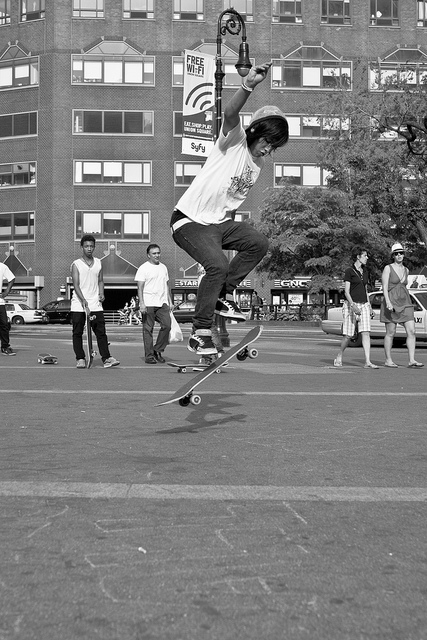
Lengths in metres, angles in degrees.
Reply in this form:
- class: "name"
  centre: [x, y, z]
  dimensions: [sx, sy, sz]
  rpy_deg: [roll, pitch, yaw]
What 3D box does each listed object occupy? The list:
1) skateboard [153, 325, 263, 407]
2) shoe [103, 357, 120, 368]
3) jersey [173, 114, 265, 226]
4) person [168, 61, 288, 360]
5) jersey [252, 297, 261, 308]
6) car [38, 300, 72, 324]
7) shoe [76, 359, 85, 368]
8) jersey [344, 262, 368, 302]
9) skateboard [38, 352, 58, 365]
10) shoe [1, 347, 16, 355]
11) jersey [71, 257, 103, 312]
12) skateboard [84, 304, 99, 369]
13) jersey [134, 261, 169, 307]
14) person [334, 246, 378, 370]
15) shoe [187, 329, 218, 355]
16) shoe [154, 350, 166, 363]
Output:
- class: "skateboard"
  centre: [-0.057, 0.441, 9.414]
  dimensions: [0.919, 0.126, 0.174]
  rpy_deg: [-38, 9, -34]
- class: "shoe"
  centre: [-1.201, 0.507, 11.812]
  dimensions: [0.177, 0.114, 0.242]
  rpy_deg: [-2, 1, -6]
- class: "jersey"
  centre: [0.083, -0.909, 6.120]
  dimensions: [0.565, 0.639, 0.418]
  rpy_deg: [-2, 0, -30]
- class: "person"
  centre: [0.129, -0.557, 6.113]
  dimensions: [0.658, 1.655, 0.504]
  rpy_deg: [-2, 0, -21]
- class: "jersey"
  centre: [1.890, -0.738, 43.423]
  dimensions: [0.360, 0.933, 0.257]
  rpy_deg: [4, 45, 3]
- class: "car"
  centre: [-7.059, -0.329, 45.128]
  dimensions: [1.794, 0.881, 1.060]
  rpy_deg: [3, 1, 3]
- class: "shoe"
  centre: [-1.542, 0.517, 11.747]
  dimensions: [0.084, 0.095, 0.144]
  rpy_deg: [-2, 0, -9]
- class: "jersey"
  centre: [1.786, -0.469, 12.468]
  dimensions: [0.279, 0.456, 0.364]
  rpy_deg: [-1, 0, 8]
- class: "skateboard"
  centre: [-2.032, 0.490, 12.341]
  dimensions: [0.206, 0.135, 0.354]
  rpy_deg: [-2, 1, -7]
- class: "shoe"
  centre: [-2.923, 0.466, 14.371]
  dimensions: [0.081, 0.110, 0.250]
  rpy_deg: [4, -6, -41]
- class: "jersey"
  centre: [-1.520, -0.425, 12.104]
  dimensions: [0.511, 0.653, 0.283]
  rpy_deg: [-2, 0, -43]
- class: "skateboard"
  centre: [-1.454, 0.190, 12.028]
  dimensions: [0.111, 0.803, 0.138]
  rpy_deg: [1, -9, -15]
- class: "jersey"
  centre: [-0.738, -0.451, 12.763]
  dimensions: [0.457, 0.567, 0.332]
  rpy_deg: [-2, 0, -21]
- class: "person"
  centre: [1.796, -0.159, 12.677]
  dimensions: [0.538, 1.421, 1.557]
  rpy_deg: [-1, 0, 8]
- class: "shoe"
  centre: [-0.061, 0.133, 6.047]
  dimensions: [0.088, 0.115, 0.246]
  rpy_deg: [2, 1, -21]
- class: "shoe"
  centre: [-0.696, 0.481, 13.057]
  dimensions: [0.061, 0.078, 0.184]
  rpy_deg: [-32, 47, -26]
